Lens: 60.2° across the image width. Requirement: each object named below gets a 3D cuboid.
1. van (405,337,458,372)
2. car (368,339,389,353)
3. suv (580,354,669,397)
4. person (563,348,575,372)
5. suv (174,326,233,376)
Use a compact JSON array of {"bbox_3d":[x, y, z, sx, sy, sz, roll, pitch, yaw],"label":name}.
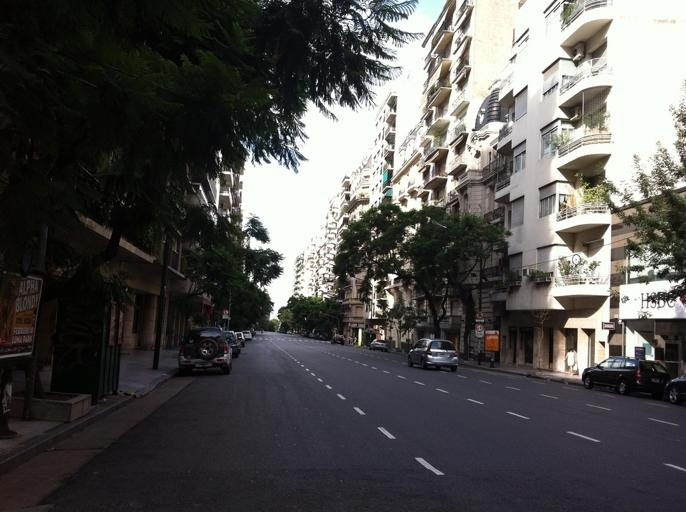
[{"bbox_3d":[5.319,5.802,35.750,1.531,1.498,3.324,3,-6,-7],"label":"van"},{"bbox_3d":[4.710,11.536,76.528,2.341,1.174,2.596,2,-6,3],"label":"car"},{"bbox_3d":[12.790,5.384,27.201,1.564,1.526,3.844,5,-5,-11],"label":"suv"},{"bbox_3d":[14.205,6.525,36.940,0.534,1.451,1.575,0,-5,23],"label":"person"},{"bbox_3d":[-5.992,4.133,25.926,2.093,2.052,1.946,2,-5,-10],"label":"suv"}]
